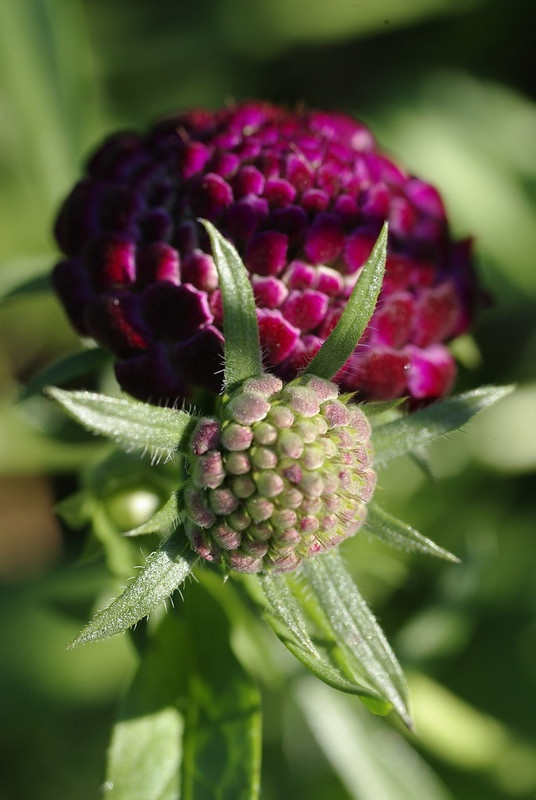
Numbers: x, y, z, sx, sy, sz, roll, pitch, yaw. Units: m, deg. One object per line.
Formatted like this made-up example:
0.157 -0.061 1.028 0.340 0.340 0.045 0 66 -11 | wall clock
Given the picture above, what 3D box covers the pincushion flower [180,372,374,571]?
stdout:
0.007 0.085 0.926 0.259 0.104 0.219 6 85 -6 | pincushion flower
